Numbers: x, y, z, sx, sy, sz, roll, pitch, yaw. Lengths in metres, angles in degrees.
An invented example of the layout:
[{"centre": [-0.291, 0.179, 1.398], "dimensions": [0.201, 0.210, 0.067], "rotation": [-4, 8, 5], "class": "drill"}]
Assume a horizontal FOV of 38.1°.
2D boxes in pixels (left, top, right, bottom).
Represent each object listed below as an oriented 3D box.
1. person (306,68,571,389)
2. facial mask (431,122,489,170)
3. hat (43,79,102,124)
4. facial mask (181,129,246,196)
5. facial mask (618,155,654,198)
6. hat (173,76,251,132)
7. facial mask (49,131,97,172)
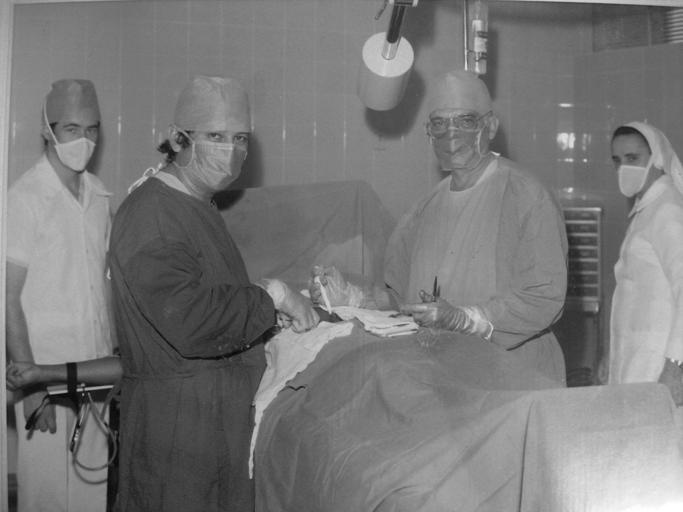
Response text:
[{"centre": [0.241, -0.128, 2.776], "dimensions": [0.641, 0.958, 0.649], "rotation": [-8, 10, -26], "class": "person"}, {"centre": [0.284, -0.267, 2.398], "dimensions": [0.107, 0.071, 0.112], "rotation": [-1, 12, 13], "class": "facial mask"}, {"centre": [-0.654, -0.381, 2.412], "dimensions": [0.125, 0.102, 0.094], "rotation": [14, 15, 9], "class": "hat"}, {"centre": [-0.325, -0.228, 2.458], "dimensions": [0.131, 0.093, 0.148], "rotation": [0, 29, -39], "class": "facial mask"}, {"centre": [0.715, -0.202, 2.397], "dimensions": [0.078, 0.068, 0.095], "rotation": [-1, 2, 33], "class": "facial mask"}, {"centre": [-0.310, -0.370, 2.412], "dimensions": [0.139, 0.093, 0.147], "rotation": [0, 24, -13], "class": "hat"}, {"centre": [-0.657, -0.255, 2.424], "dimensions": [0.089, 0.066, 0.096], "rotation": [-6, 31, -42], "class": "facial mask"}]
